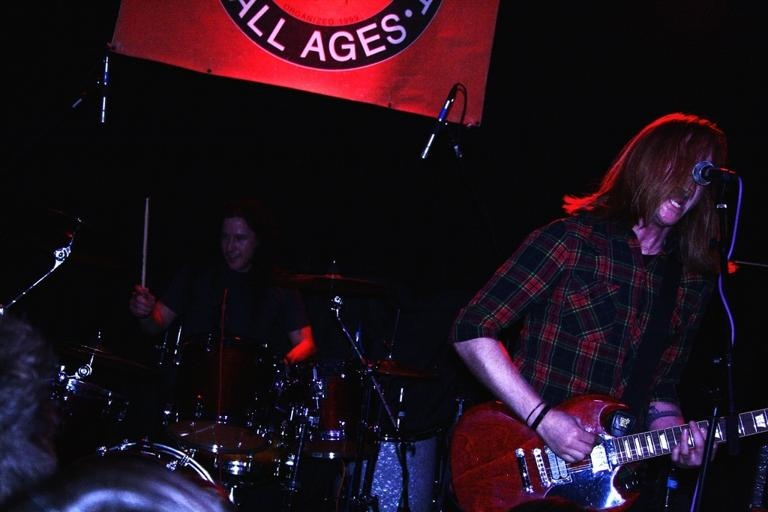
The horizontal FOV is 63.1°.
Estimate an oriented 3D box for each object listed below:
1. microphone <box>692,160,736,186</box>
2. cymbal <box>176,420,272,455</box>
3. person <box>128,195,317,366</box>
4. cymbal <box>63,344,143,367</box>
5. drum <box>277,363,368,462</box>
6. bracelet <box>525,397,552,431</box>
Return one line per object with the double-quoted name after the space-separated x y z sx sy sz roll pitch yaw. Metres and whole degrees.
1.766 -0.457 3.363 0.119 0.212 0.114 -9 -77 -16 "microphone"
-1.122 1.224 4.234 0.312 0.316 0.067 15 -86 -25 "cymbal"
-1.352 0.386 5.333 1.520 1.135 1.764 8 -82 -4 "person"
-2.131 0.753 4.708 0.287 0.034 0.298 18 -7 21 "cymbal"
-0.450 1.137 4.700 0.699 0.680 0.470 18 -40 -17 "drum"
0.800 0.817 3.202 0.030 0.122 0.129 37 -64 14 "bracelet"
